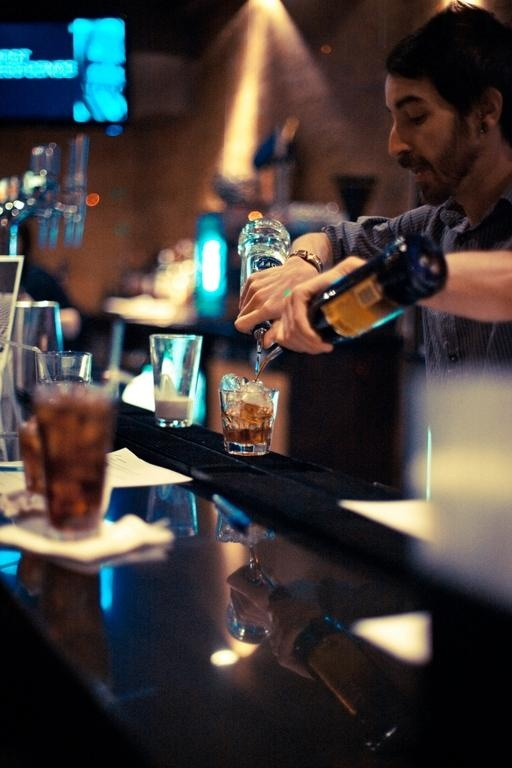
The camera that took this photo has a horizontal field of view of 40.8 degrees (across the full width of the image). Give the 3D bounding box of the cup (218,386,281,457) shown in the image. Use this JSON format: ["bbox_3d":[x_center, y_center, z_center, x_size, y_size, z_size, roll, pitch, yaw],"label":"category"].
[{"bbox_3d":[-0.010,0.057,1.124,0.122,0.120,0.114,0,-2,0],"label":"cup"}]

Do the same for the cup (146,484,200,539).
[{"bbox_3d":[-0.092,0.158,0.815,0.042,0.064,0.037,0,-1,-5],"label":"cup"}]

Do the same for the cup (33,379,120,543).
[{"bbox_3d":[-0.164,0.064,0.615,0.067,0.132,0.100,-4,8,-28],"label":"cup"}]

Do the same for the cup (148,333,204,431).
[{"bbox_3d":[-0.162,-0.007,1.398,0.097,0.189,0.117,-1,8,-7],"label":"cup"}]

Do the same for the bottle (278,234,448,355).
[{"bbox_3d":[0.117,-0.093,0.735,0.066,0.114,0.267,-1,7,-10],"label":"bottle"}]
